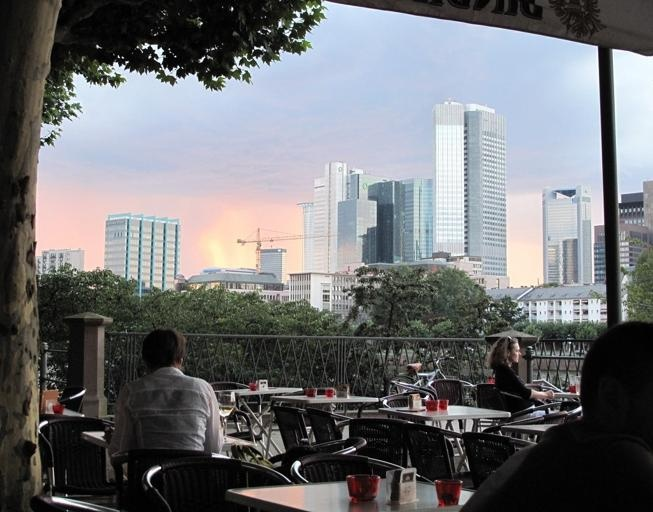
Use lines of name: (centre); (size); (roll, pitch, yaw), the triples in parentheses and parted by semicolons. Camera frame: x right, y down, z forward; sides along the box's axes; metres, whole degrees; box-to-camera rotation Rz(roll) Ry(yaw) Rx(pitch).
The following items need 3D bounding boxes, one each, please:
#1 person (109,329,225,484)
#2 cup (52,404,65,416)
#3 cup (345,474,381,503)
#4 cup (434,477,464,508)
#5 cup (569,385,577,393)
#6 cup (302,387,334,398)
person: (-0.839, 0.792, 5.287); (0.714, 1.082, 0.611); (-1, -6, -5)
cup: (-1.921, 1.085, 6.976); (0.119, 0.089, 0.106); (1, -1, -19)
cup: (0.157, 1.019, 4.294); (0.119, 0.078, 0.117); (-1, -13, 0)
cup: (0.540, 1.040, 4.323); (0.113, 0.104, 0.107); (-1, -4, 0)
cup: (2.276, 1.222, 9.035); (0.075, 0.063, 0.068); (-2, 2, -37)
cup: (-0.015, 1.227, 8.750); (0.341, 0.095, 0.153); (9, -11, -30)
